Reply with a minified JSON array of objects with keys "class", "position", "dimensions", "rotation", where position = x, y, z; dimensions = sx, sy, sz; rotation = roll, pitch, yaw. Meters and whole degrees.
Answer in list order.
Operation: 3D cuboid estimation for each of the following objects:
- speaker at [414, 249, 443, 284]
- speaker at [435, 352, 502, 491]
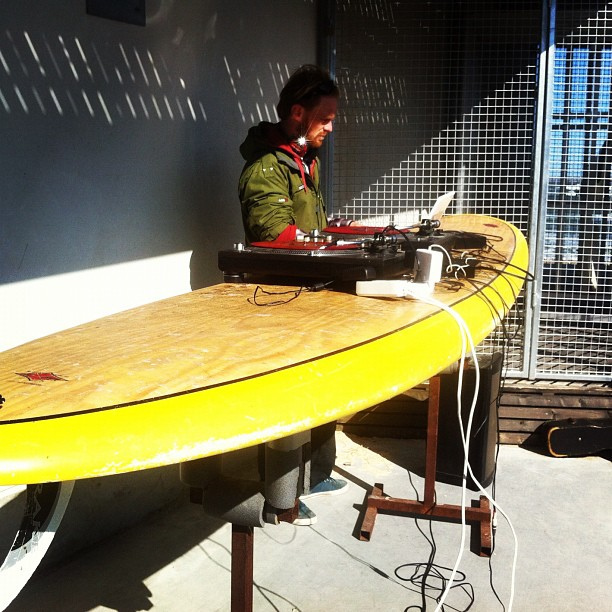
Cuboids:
[{"class":"speaker","position":[0.314,-0.100,1.338],"dimensions":[0.063,0.084,0.053],"rotation":[1,15,8]},{"class":"speaker","position":[0.819,0.554,2.663],"dimensions":[0.293,0.729,0.466],"rotation":[4,16,19]}]
